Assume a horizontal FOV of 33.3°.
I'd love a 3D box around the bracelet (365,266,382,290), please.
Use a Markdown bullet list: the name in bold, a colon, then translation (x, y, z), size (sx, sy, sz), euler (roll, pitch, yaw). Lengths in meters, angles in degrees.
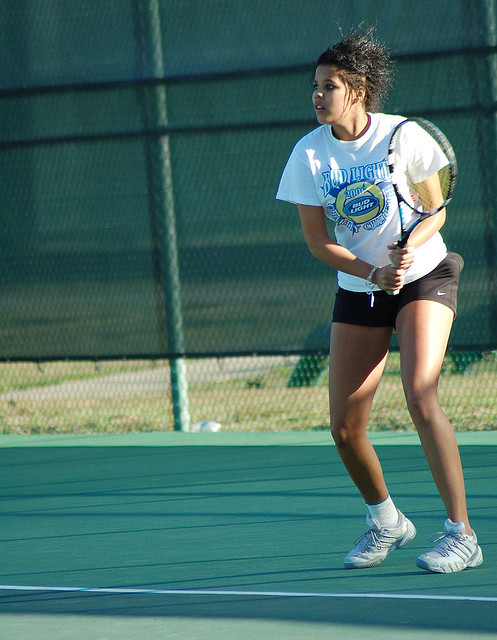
- **bracelet**: translation (0.317, -0.107, 2.127), size (0.053, 0.016, 0.051), euler (-61, -35, -10)
